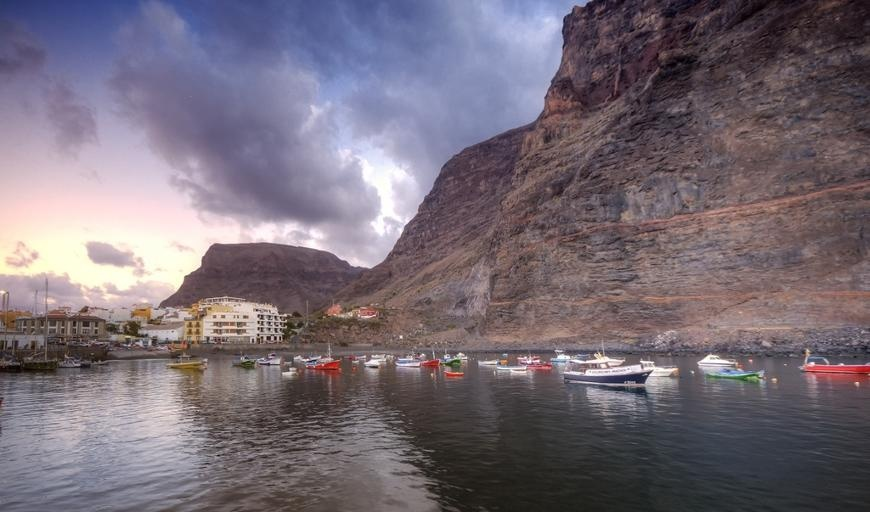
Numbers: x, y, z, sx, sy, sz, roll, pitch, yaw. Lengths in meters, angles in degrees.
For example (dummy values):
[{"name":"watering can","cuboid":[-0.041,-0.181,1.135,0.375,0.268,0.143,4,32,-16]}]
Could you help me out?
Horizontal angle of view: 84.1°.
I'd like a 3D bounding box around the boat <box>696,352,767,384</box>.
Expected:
[{"name":"boat","cuboid":[47.154,18.336,77.888,3.730,3.154,10.641,4,-11,-13]}]
